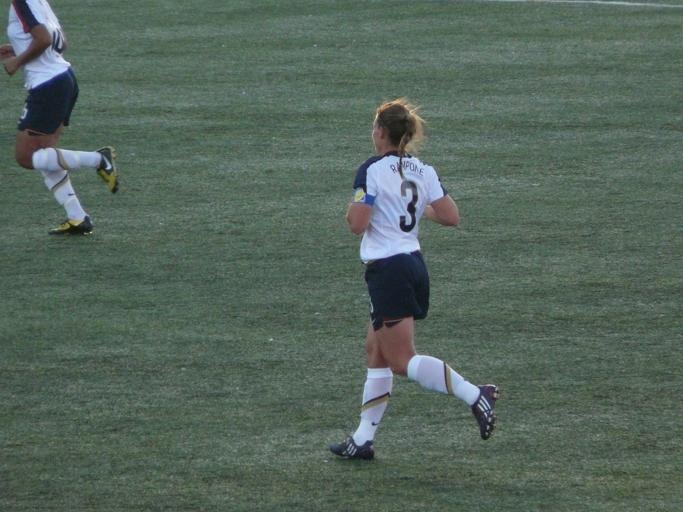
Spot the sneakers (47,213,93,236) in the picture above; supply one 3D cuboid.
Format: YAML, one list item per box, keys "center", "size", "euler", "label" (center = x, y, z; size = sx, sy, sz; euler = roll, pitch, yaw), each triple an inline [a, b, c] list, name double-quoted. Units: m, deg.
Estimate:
- center: [-2.519, -0.264, 17.817]
  size: [0.479, 0.170, 0.154]
  euler: [1, 7, -7]
  label: "sneakers"

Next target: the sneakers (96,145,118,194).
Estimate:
- center: [-2.165, -0.802, 17.887]
  size: [0.157, 0.436, 0.210]
  euler: [6, 28, 39]
  label: "sneakers"

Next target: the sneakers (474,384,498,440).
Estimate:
- center: [1.200, 1.281, 15.745]
  size: [0.253, 0.458, 0.170]
  euler: [-7, 18, 4]
  label: "sneakers"
